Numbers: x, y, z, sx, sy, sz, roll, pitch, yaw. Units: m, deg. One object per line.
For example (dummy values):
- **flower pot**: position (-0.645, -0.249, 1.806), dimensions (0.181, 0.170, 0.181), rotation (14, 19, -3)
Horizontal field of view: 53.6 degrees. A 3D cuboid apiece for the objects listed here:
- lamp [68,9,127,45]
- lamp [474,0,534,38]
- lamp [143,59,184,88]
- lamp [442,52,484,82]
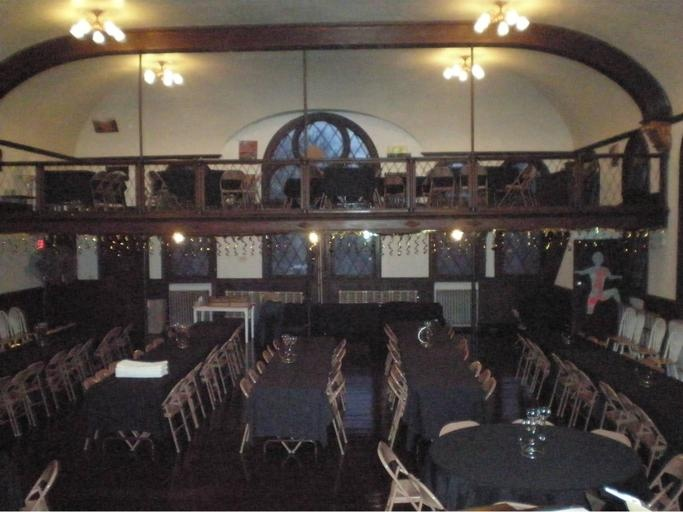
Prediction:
- **lamp**: position (-4.840, -4.583, 13.594), dimensions (0.896, 0.595, 0.986), rotation (2, 7, 2)
- **lamp**: position (3.214, -4.760, 13.542), dimensions (0.867, 0.538, 1.014), rotation (5, 6, 14)
- **lamp**: position (-4.273, -4.376, 16.134), dimensions (0.854, 0.458, 0.931), rotation (0, 2, -8)
- **lamp**: position (2.894, -4.444, 16.100), dimensions (0.897, 0.662, 0.986), rotation (3, 3, 3)
